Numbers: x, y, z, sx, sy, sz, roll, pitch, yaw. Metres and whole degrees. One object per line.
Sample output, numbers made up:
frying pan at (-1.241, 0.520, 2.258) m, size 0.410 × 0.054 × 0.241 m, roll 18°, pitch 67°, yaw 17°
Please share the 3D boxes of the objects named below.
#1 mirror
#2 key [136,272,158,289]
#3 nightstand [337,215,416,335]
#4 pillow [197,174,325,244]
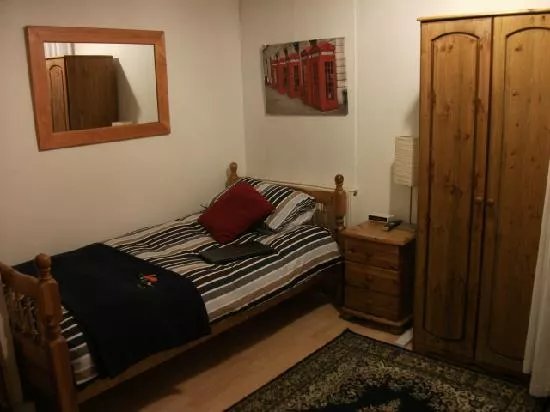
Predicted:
mirror at (-1.521, -0.992, 3.516) m, size 1.126 × 0.944 × 0.083 m, roll -13°, pitch 19°, yaw -37°
key at (-0.862, 0.510, 2.866) m, size 0.087 × 0.032 × 0.088 m, roll 12°, pitch 17°, yaw 15°
nightstand at (0.783, 0.533, 3.895) m, size 0.817 × 1.029 × 0.763 m, roll 6°, pitch 12°, yaw 34°
pillow at (-0.232, 0.034, 3.769) m, size 0.685 × 0.204 × 0.693 m, roll 1°, pitch 31°, yaw 30°
